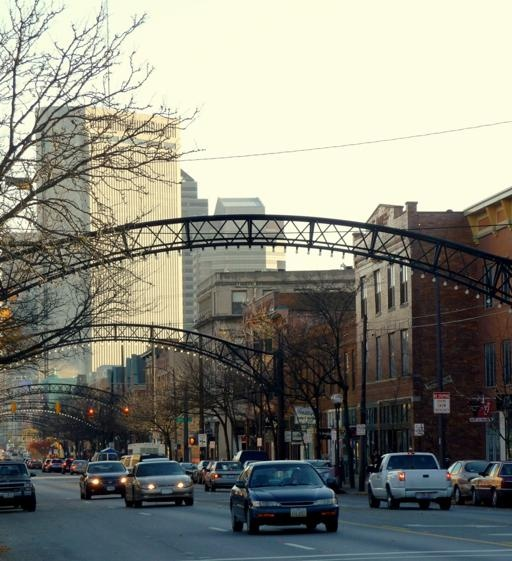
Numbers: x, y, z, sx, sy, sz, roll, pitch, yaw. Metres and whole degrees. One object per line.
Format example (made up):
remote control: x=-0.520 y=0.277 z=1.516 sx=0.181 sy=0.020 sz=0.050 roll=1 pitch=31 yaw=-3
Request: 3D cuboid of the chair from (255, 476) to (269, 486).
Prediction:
chair: x=0.109 y=4.259 z=28.929 sx=0.198 sy=0.233 sz=0.174 roll=2 pitch=-32 yaw=-2
